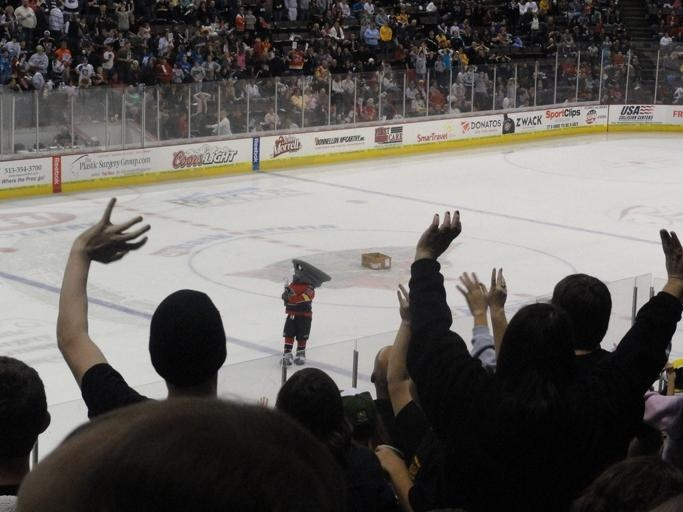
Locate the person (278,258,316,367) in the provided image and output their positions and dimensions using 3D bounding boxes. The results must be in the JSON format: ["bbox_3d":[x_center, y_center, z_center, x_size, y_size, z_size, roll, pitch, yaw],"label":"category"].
[{"bbox_3d":[-0.550,0.651,9.374,0.385,1.192,0.816,-1,6,-4],"label":"person"}]

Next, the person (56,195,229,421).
[{"bbox_3d":[-0.656,0.106,2.944,0.917,0.387,1.295,-7,20,-22],"label":"person"}]
